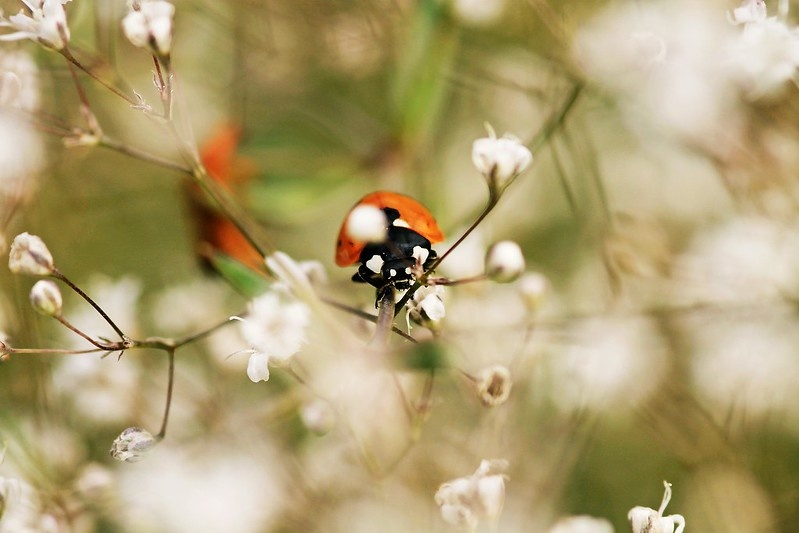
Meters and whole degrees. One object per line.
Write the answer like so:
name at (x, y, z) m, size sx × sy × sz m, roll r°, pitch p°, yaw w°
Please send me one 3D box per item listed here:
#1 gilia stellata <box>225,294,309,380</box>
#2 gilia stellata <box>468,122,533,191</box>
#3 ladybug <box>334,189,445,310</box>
gilia stellata at (-0.114, 0.055, 0.907) m, size 0.070 × 0.028 × 0.076 m, roll -13°, pitch 87°, yaw 14°
gilia stellata at (0.086, -0.094, 0.865) m, size 0.046 × 0.041 × 0.064 m, roll 16°, pitch 57°, yaw 12°
ladybug at (-0.010, -0.024, 0.930) m, size 0.100 × 0.081 × 0.132 m, roll -12°, pitch 23°, yaw -9°
